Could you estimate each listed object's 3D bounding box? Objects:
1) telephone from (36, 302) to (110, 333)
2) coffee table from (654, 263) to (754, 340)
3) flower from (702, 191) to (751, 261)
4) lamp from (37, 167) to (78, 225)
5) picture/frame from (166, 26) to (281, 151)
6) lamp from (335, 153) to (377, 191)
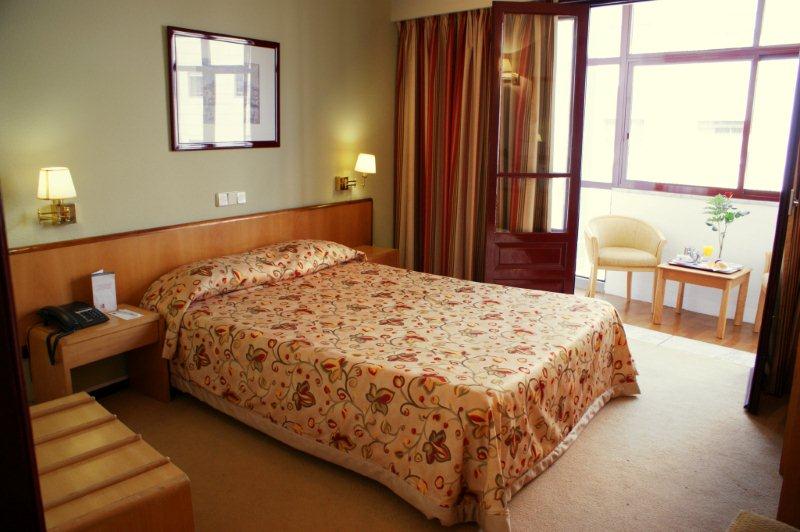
[{"bbox_3d":[-2.341,0.346,3.930,0.397,0.147,0.321,8,17,35],"label":"telephone"},{"bbox_3d":[3.242,0.204,5.906,0.822,0.785,0.839,11,15,37],"label":"coffee table"},{"bbox_3d":[3.524,-0.423,5.981,0.418,0.709,0.462,5,16,24],"label":"flower"},{"bbox_3d":[-2.436,-0.502,3.943,0.249,0.390,0.217,1,20,-7],"label":"lamp"},{"bbox_3d":[-1.455,-1.517,4.850,0.042,0.942,1.087,12,20,31],"label":"picture/frame"},{"bbox_3d":[-0.468,-1.002,5.935,0.432,0.425,0.251,6,7,18],"label":"lamp"}]
